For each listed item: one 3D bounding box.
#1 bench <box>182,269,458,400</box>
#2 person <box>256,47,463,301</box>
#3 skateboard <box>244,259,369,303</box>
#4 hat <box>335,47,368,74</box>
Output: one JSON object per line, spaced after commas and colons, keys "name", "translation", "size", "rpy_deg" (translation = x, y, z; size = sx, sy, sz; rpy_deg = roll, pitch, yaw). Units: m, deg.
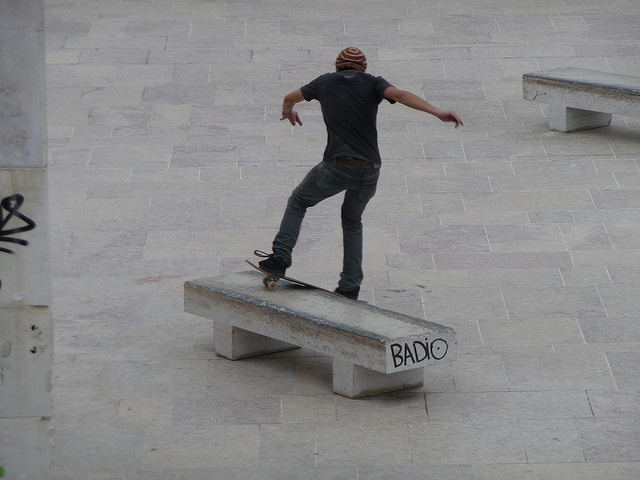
{"name": "bench", "translation": [-0.026, 0.754, 7.213], "size": [1.949, 0.669, 0.589], "rpy_deg": [11, 18, 35]}
{"name": "person", "translation": [0.198, -0.496, 7.475], "size": [0.886, 2.087, 0.977], "rpy_deg": [0, 19, -11]}
{"name": "skateboard", "translation": [-0.113, 0.350, 7.820], "size": [1.083, 0.118, 0.196], "rpy_deg": [13, 18, 0]}
{"name": "hat", "translation": [0.241, -1.454, 7.499], "size": [0.271, 0.195, 0.241], "rpy_deg": [1, 24, -12]}
